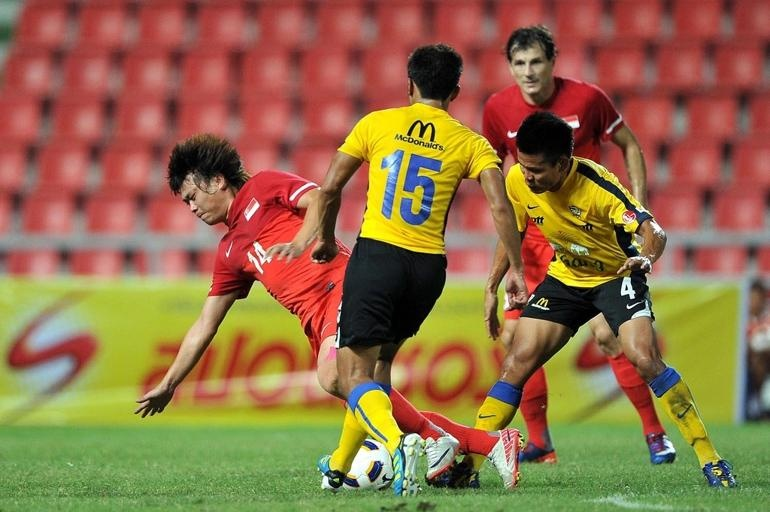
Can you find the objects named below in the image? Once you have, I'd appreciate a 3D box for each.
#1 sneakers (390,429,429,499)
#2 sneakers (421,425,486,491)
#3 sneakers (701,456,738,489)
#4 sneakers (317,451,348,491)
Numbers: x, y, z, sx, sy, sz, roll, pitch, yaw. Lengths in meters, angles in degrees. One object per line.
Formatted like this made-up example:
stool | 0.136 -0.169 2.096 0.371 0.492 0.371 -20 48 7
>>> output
sneakers | 0.195 1.647 7.251 0.195 0.579 0.267 5 -1 -22
sneakers | 0.614 1.878 7.869 0.561 0.279 0.197 -3 -7 -11
sneakers | 2.814 1.853 7.675 0.154 0.320 0.138 -29 -45 7
sneakers | -0.456 1.831 7.735 0.130 0.175 0.371 2 24 -13
